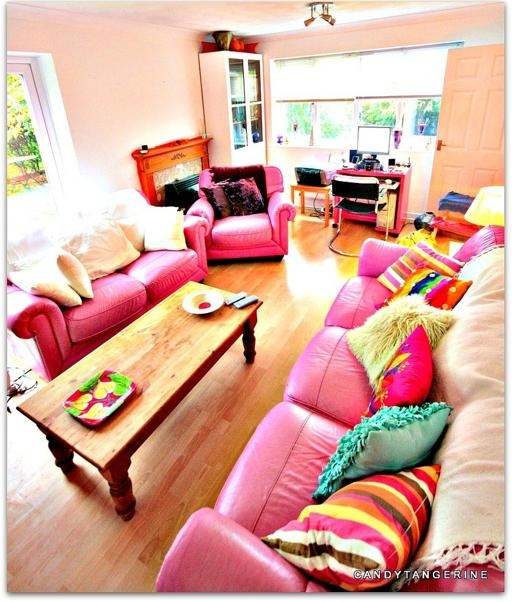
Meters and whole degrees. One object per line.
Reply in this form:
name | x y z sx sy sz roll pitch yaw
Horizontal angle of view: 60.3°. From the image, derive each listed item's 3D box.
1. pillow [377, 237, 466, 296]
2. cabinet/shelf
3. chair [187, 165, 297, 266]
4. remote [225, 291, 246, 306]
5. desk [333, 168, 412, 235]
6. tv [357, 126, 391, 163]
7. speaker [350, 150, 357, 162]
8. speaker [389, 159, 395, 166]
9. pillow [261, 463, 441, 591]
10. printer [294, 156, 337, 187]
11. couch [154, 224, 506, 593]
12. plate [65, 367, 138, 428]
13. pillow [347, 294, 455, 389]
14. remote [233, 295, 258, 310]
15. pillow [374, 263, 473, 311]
pillow | 0.893 -0.184 2.423 0.106 0.339 0.317 25 19 -40
cabinet/shelf | -0.220 -2.226 5.272 0.434 1.254 0.901 12 30 32
chair | -0.075 -0.626 4.472 1.205 1.002 0.857 -3 51 2
remote | -0.120 -0.006 2.602 0.098 0.022 0.070 -21 36 -21
desk | 1.184 -0.995 4.395 0.752 0.683 0.572 17 44 27
tv | 1.229 -1.628 4.576 0.398 0.395 0.154 19 48 29
speaker | 1.071 -1.582 4.867 0.106 0.135 0.093 8 28 26
speaker | 1.399 -1.419 4.544 0.066 0.072 0.111 2 26 16
pillow | 0.208 0.452 1.098 0.255 0.135 0.418 -1 14 44
printer | 0.695 -1.429 5.096 0.523 0.241 0.508 -9 36 6
couch | 0.240 0.381 1.737 0.544 0.589 1.553 19 36 26
plate | -0.666 0.412 1.872 0.188 0.044 0.219 19 34 23
pillow | 0.680 0.206 1.922 0.390 0.128 0.371 -38 28 35
remote | -0.059 0.000 2.555 0.124 0.025 0.071 -27 44 -34
pillow | 0.836 -0.057 2.057 0.201 0.079 0.268 -45 16 -2
